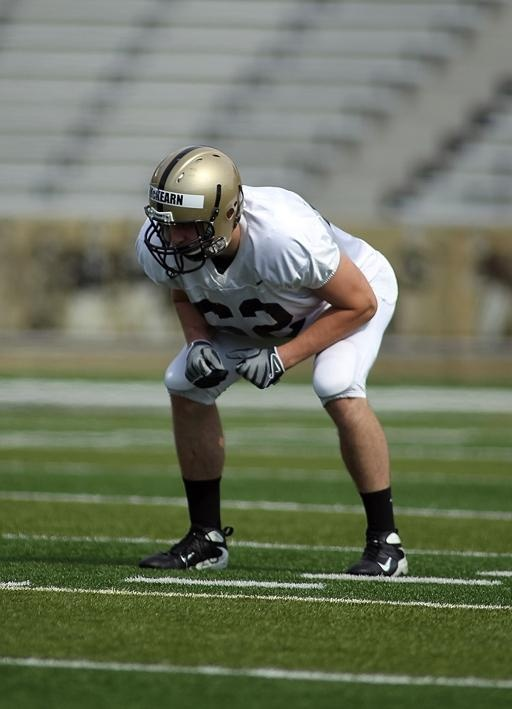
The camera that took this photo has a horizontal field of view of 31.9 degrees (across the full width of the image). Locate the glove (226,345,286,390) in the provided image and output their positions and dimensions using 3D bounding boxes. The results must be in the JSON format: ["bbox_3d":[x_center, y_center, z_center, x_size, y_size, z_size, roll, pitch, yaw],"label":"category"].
[{"bbox_3d":[0.000,0.029,2.032,0.114,0.097,0.151,-1,5,-7],"label":"glove"}]

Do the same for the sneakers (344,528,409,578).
[{"bbox_3d":[0.269,0.459,2.051,0.091,0.098,0.194,-3,-2,36],"label":"sneakers"}]

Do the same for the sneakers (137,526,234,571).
[{"bbox_3d":[-0.141,0.463,2.105,0.243,0.081,0.076,4,-4,-23],"label":"sneakers"}]

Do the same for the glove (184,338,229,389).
[{"bbox_3d":[-0.119,0.018,2.025,0.055,0.078,0.112,-31,62,-31],"label":"glove"}]

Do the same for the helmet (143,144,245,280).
[{"bbox_3d":[-0.157,-0.317,1.966,0.244,0.291,0.220,1,5,15],"label":"helmet"}]
